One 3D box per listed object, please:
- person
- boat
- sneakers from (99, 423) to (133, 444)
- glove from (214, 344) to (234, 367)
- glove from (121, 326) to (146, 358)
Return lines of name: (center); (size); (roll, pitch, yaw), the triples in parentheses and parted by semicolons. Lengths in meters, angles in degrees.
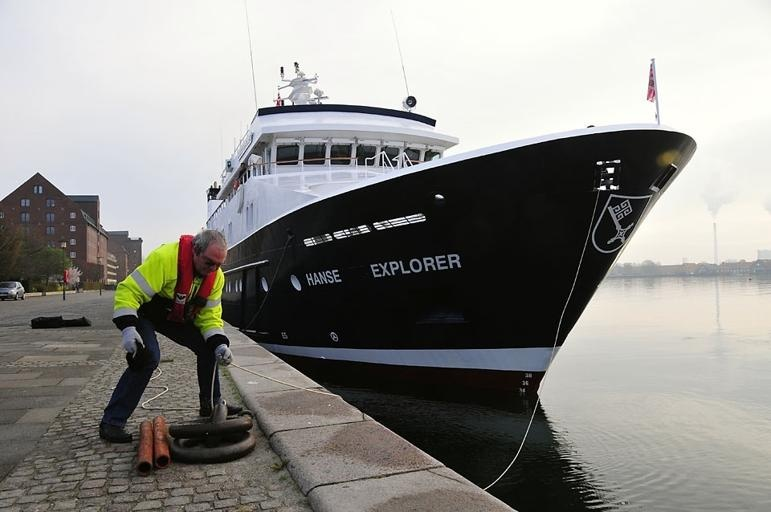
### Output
person: (-2.169, 0.789, 5.362); (1.146, 2.105, 0.744); (3, -4, -28)
boat: (0.490, -0.706, 9.566); (8.383, 6.219, 2.841); (-4, -6, 45)
sneakers: (-2.660, 1.737, 5.242); (0.368, 0.195, 0.094); (0, -4, 10)
glove: (-1.624, 1.028, 5.515); (0.174, 0.228, 0.224); (13, -5, -36)
glove: (-2.439, 0.819, 5.170); (0.199, 0.278, 0.267); (3, -5, -28)
